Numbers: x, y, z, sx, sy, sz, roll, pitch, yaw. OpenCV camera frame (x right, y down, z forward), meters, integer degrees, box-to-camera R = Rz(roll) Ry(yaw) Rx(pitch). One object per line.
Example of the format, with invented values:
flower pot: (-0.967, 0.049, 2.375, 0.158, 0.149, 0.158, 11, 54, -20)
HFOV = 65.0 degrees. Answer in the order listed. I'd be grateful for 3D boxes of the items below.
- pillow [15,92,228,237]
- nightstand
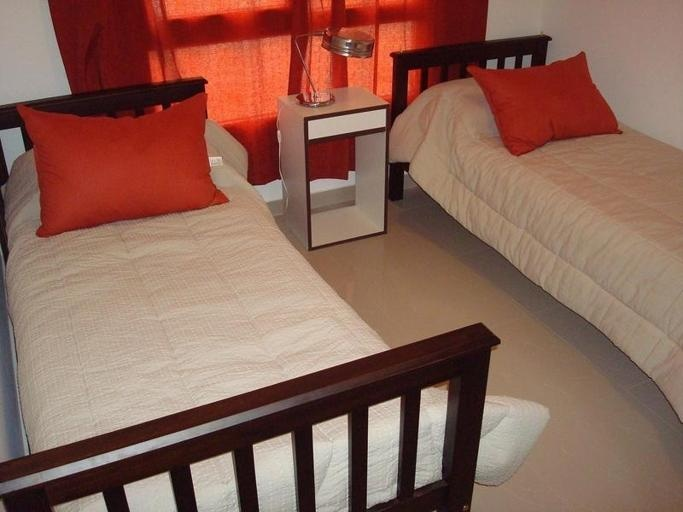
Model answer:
pillow: (-0.915, -0.355, 2.203, 0.604, 0.379, 0.214, -12, 14, -21)
nightstand: (-0.037, -0.477, 2.942, 0.614, 0.934, 0.482, -16, 44, -18)
